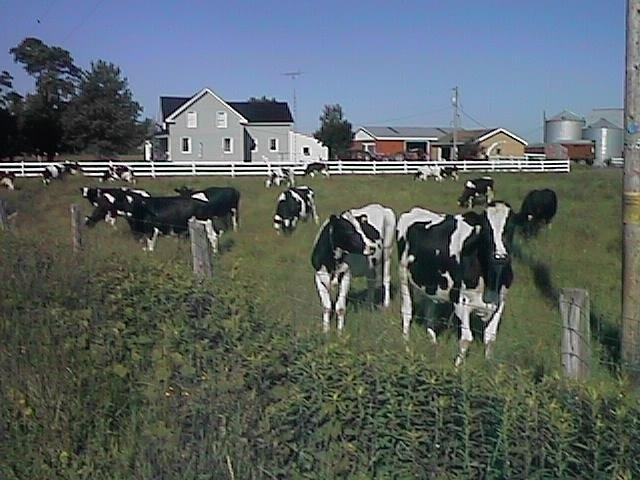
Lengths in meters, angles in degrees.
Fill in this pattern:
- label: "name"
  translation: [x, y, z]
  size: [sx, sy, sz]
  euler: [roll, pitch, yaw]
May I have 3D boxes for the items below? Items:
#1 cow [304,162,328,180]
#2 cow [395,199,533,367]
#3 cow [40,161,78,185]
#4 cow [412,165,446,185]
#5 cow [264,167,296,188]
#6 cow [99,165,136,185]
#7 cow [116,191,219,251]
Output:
- label: "cow"
  translation: [-0.130, -3.894, 39.345]
  size: [1.360, 0.860, 0.962]
  euler: [-2, 6, -13]
- label: "cow"
  translation: [2.885, 0.836, 14.640]
  size: [1.272, 3.370, 4.078]
  euler: [-1, 5, -23]
- label: "cow"
  translation: [-13.983, -3.539, 37.903]
  size: [0.475, 0.689, 1.597]
  euler: [-10, 23, 46]
- label: "cow"
  translation: [5.894, -3.598, 39.074]
  size: [2.047, 1.377, 0.769]
  euler: [-4, 10, -10]
- label: "cow"
  translation: [-2.070, -3.326, 37.456]
  size: [2.230, 1.428, 0.708]
  euler: [-3, 3, -44]
- label: "cow"
  translation: [-10.673, -3.502, 37.871]
  size: [1.082, 0.450, 1.311]
  euler: [1, 34, -5]
- label: "cow"
  translation: [-5.612, -0.730, 26.781]
  size: [3.910, 2.547, 1.654]
  euler: [-1, 29, -23]
